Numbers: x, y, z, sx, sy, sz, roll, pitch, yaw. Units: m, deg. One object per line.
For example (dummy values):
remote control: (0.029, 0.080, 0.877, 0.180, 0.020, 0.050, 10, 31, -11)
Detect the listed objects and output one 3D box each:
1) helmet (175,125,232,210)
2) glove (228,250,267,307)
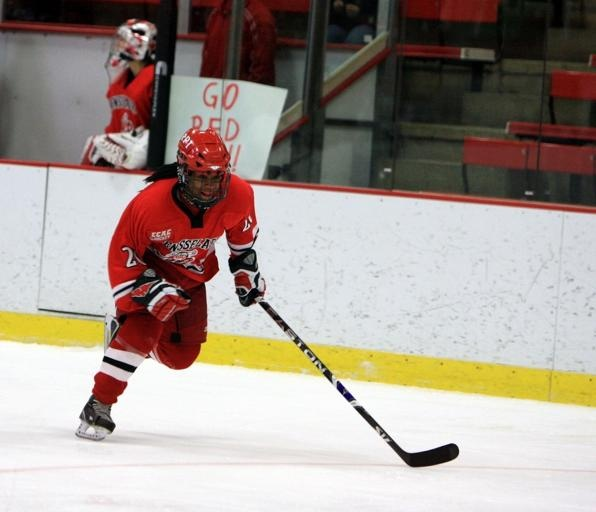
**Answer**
helmet: (-0.401, -0.388, 3.654, 0.279, 0.319, 0.336, 3, 20, -10)
glove: (-0.240, 0.060, 3.999, 0.209, 0.125, 0.324, 3, 13, -8)
